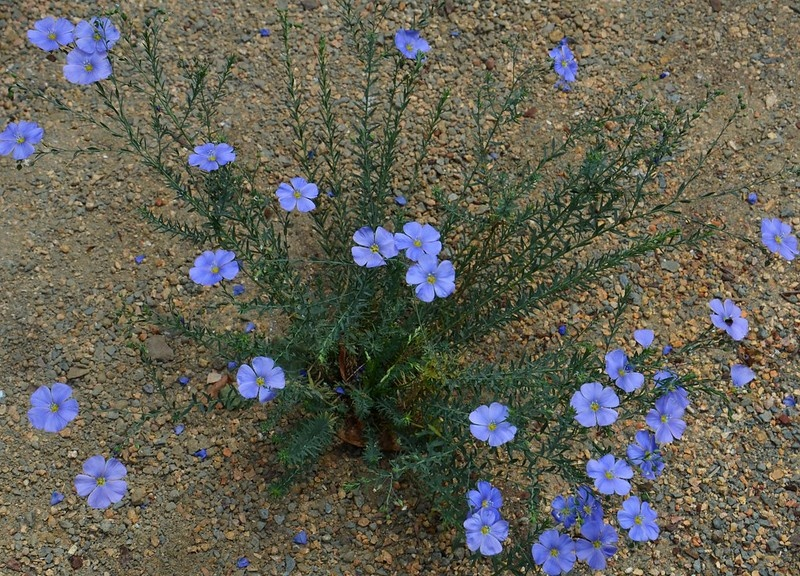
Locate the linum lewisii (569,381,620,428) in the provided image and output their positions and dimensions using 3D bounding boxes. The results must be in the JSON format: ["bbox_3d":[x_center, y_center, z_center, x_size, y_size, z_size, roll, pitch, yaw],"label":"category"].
[{"bbox_3d":[1.078,0.654,5.231,0.299,0.189,0.229,0,62,-9],"label":"linum lewisii"}]

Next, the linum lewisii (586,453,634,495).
[{"bbox_3d":[1.178,1.067,5.260,0.263,0.144,0.219,21,61,2],"label":"linum lewisii"}]

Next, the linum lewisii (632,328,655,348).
[{"bbox_3d":[1.429,0.297,5.515,0.113,0.056,0.163,1,90,-4],"label":"linum lewisii"}]

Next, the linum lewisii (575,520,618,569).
[{"bbox_3d":[1.132,1.509,5.420,0.239,0.290,0.231,0,61,-8],"label":"linum lewisii"}]

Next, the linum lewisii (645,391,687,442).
[{"bbox_3d":[1.549,0.752,5.363,0.224,0.214,0.224,-23,67,-19],"label":"linum lewisii"}]

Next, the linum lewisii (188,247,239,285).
[{"bbox_3d":[-1.074,-0.127,5.372,0.271,0.164,0.218,-5,63,-11],"label":"linum lewisii"}]

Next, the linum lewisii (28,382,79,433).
[{"bbox_3d":[-2.037,0.699,5.438,0.279,0.094,0.341,8,48,-9],"label":"linum lewisii"}]

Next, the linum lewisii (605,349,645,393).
[{"bbox_3d":[1.279,0.479,5.301,0.213,0.086,0.242,-27,78,-7],"label":"linum lewisii"}]

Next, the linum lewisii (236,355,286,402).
[{"bbox_3d":[-0.808,0.562,5.396,0.261,0.348,0.236,-14,63,-15],"label":"linum lewisii"}]

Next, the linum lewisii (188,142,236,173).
[{"bbox_3d":[-1.088,-0.763,5.348,0.244,0.125,0.220,-5,63,-11],"label":"linum lewisii"}]

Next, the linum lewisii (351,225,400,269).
[{"bbox_3d":[-0.151,-0.178,5.455,0.260,0.339,0.254,8,60,-3],"label":"linum lewisii"}]

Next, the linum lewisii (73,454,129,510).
[{"bbox_3d":[-1.737,1.135,5.411,0.275,0.230,0.241,-10,63,-13],"label":"linum lewisii"}]

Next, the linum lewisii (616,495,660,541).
[{"bbox_3d":[1.393,1.322,5.364,0.250,0.096,0.246,-43,105,-26],"label":"linum lewisii"}]
